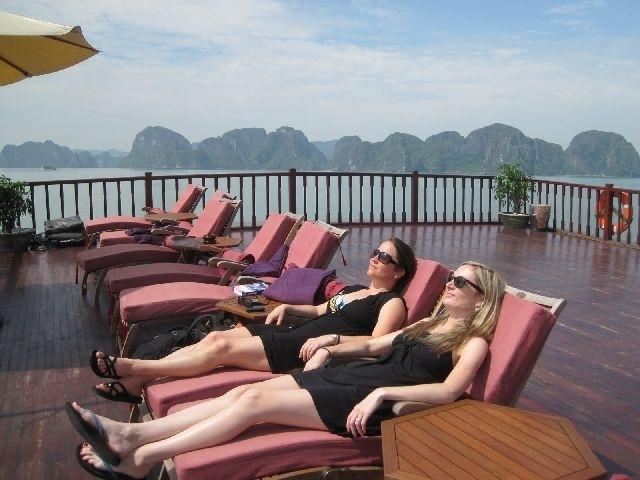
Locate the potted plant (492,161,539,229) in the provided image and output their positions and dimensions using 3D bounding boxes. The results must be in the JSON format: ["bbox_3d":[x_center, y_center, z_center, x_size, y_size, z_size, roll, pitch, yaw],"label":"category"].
[{"bbox_3d":[3.970,-0.939,9.631,0.583,1.389,0.713,-4,12,-28],"label":"potted plant"}]

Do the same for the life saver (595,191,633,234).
[{"bbox_3d":[5.372,-0.528,8.467,0.727,0.919,0.686,0,5,24],"label":"life saver"}]

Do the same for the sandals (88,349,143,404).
[{"bbox_3d":[-1.038,0.707,2.475,0.284,0.285,0.286,-2,11,-19],"label":"sandals"}]

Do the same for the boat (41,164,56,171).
[{"bbox_3d":[-34.028,-9.080,58.679,1.119,0.372,12.901,-6,12,-31],"label":"boat"}]

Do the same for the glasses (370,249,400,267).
[{"bbox_3d":[0.420,0.134,2.955,0.131,0.040,0.122,26,0,-30],"label":"glasses"}]
